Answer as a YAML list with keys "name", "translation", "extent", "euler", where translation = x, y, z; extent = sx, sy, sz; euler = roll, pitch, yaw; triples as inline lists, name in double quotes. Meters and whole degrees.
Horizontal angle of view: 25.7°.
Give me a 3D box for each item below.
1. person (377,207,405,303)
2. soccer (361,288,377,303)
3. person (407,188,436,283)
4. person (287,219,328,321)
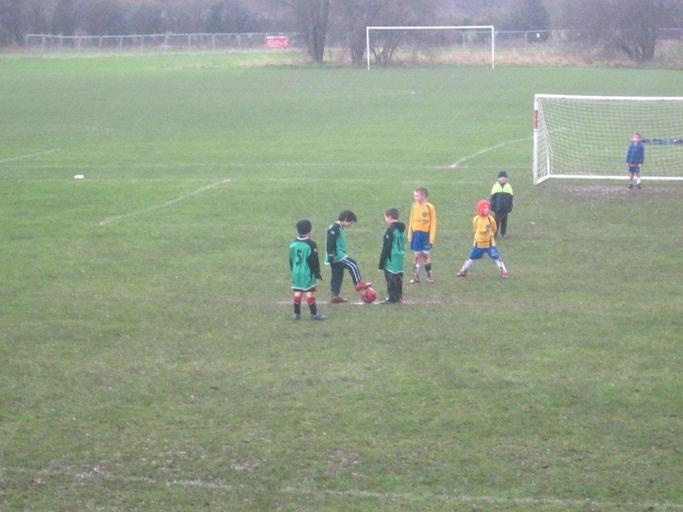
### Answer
- name: "person"
  translation: [1.688, 0.068, 49.965]
  extent: [0.932, 3.165, 0.533]
  euler: [-4, 9, -13]
- name: "soccer"
  translation: [0.945, 1.371, 50.061]
  extent: [0.403, 0.466, 0.524]
  euler: [3, 31, -11]
- name: "person"
  translation: [2.752, -0.744, 51.573]
  extent: [0.929, 3.236, 1.456]
  euler: [-2, 9, 3]
- name: "person"
  translation: [-1.167, 0.495, 49.307]
  extent: [0.984, 3.325, 0.718]
  euler: [-4, 9, -9]
